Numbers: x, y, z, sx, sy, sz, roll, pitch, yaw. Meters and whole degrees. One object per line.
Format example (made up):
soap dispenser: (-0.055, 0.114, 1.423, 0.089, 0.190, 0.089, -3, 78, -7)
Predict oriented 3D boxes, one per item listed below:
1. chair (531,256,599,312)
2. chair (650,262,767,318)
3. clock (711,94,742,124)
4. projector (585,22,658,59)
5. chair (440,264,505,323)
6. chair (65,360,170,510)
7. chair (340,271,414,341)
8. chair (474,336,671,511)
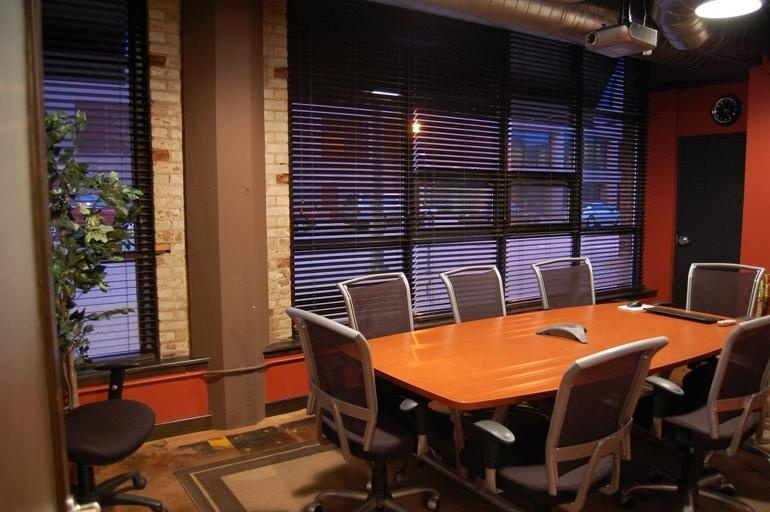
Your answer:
chair: (1.473, 0.221, 5.001, 0.450, 0.646, 0.509, -7, 3, -17)
chair: (2.616, 0.243, 4.622, 0.528, 0.614, 0.477, -3, 4, -44)
clock: (3.997, -1.720, 6.668, 0.059, 0.382, 0.403, -4, -1, -31)
projector: (1.842, -1.691, 4.470, 0.398, 0.146, 0.412, -1, 6, -32)
chair: (0.689, 0.267, 4.334, 0.405, 0.617, 0.485, -4, 2, -23)
chair: (-1.598, 1.094, 3.337, 0.468, 0.837, 0.718, -8, 15, -30)
chair: (-0.049, 0.320, 4.092, 0.422, 0.639, 0.487, -6, 8, -30)
chair: (0.857, 0.751, 2.617, 0.679, 0.841, 0.351, -3, 13, -12)
